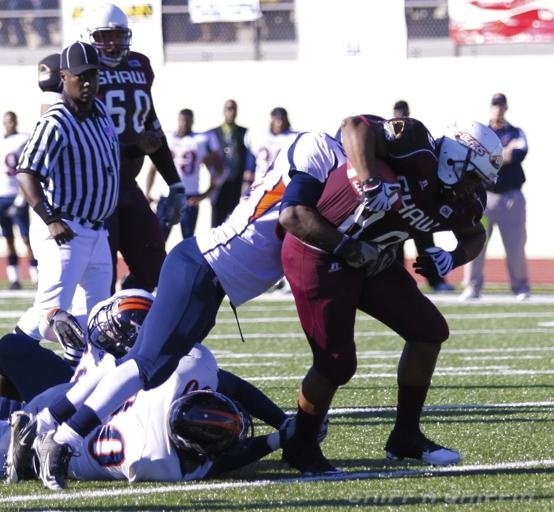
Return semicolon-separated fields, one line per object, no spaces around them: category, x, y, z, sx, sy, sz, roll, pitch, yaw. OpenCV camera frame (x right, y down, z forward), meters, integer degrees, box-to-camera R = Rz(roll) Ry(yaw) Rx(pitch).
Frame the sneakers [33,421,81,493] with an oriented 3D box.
sneakers;-0.770;0.703;3.735;0.098;0.133;0.175;18;35;-5

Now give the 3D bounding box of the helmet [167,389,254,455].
helmet;-0.238;0.563;3.738;0.258;0.191;0.202;8;-1;-12

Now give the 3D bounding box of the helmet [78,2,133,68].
helmet;-0.825;-1.068;5.150;0.241;0.302;0.306;-3;18;-35

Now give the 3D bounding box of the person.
person;-0.104;0.049;4.416;2.034;1.476;1.005;-1;2;2

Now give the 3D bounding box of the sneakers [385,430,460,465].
sneakers;0.556;0.733;4.116;0.283;0.115;0.106;-1;-2;25

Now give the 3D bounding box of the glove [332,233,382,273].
glove;0.296;-0.010;3.841;0.078;0.147;0.225;7;11;41

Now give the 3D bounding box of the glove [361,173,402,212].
glove;0.359;-0.223;3.688;0.127;0.093;0.104;0;-18;29

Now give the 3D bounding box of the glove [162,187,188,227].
glove;-0.514;-0.254;5.415;0.062;0.174;0.131;22;12;37

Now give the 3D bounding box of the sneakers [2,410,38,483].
sneakers;-0.918;0.677;3.829;0.115;0.252;0.162;-3;8;-14

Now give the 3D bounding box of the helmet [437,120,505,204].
helmet;0.696;-0.352;3.954;0.274;0.266;0.229;24;-1;-7

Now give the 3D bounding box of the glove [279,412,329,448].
glove;0.128;0.661;4.009;0.242;0.109;0.082;-1;8;12
